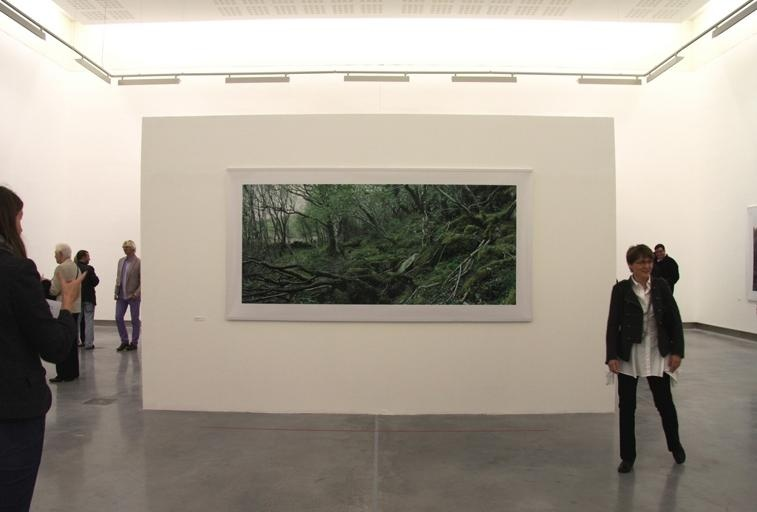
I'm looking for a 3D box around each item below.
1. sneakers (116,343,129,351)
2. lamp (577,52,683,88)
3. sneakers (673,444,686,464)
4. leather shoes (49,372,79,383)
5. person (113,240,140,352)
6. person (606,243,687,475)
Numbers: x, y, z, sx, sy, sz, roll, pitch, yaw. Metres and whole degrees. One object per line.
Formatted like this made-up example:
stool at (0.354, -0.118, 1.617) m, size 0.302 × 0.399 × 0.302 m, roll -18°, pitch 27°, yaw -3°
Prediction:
sneakers at (-5.454, 1.945, 11.664) m, size 0.119 × 0.144 × 0.331 m, roll -3°, pitch -4°, yaw 33°
lamp at (5.939, -4.293, 13.009) m, size 1.974 × 0.679 × 3.652 m, roll 4°, pitch 10°, yaw 23°
sneakers at (3.623, 2.391, 6.579) m, size 0.126 × 0.250 × 0.165 m, roll -6°, pitch -10°, yaw 36°
leather shoes at (-5.395, 2.089, 9.407) m, size 0.471 × 0.207 × 0.161 m, roll -4°, pitch 1°, yaw -5°
person at (-5.373, 0.835, 11.686) m, size 0.536 × 2.293 × 0.692 m, roll -4°, pitch 10°, yaw -26°
person at (3.165, 1.186, 6.552) m, size 0.894 × 2.628 × 0.744 m, roll -3°, pitch 9°, yaw -20°
